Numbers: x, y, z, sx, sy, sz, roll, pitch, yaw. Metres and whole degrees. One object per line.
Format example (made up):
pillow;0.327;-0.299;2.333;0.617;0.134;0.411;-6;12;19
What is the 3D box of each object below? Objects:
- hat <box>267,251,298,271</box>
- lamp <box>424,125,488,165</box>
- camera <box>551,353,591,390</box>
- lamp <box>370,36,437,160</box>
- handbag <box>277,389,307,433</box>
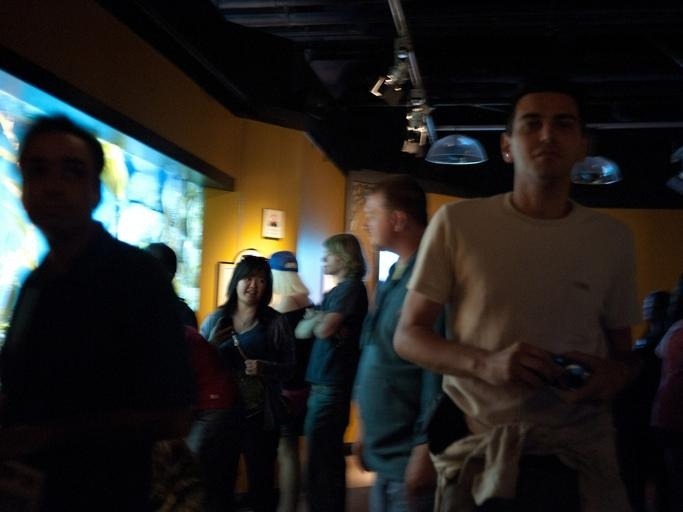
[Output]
hat;-0.435;0.040;4.048;0.220;0.163;0.260;1;-5;5
lamp;1.239;-1.231;5.979;0.765;0.337;0.759;1;-6;9
camera;0.572;0.290;1.375;0.099;0.071;0.047;1;-17;-9
lamp;0.638;-1.635;5.556;0.479;0.233;0.983;-5;-24;4
handbag;-0.297;0.989;3.423;0.196;0.251;0.263;0;-11;7
